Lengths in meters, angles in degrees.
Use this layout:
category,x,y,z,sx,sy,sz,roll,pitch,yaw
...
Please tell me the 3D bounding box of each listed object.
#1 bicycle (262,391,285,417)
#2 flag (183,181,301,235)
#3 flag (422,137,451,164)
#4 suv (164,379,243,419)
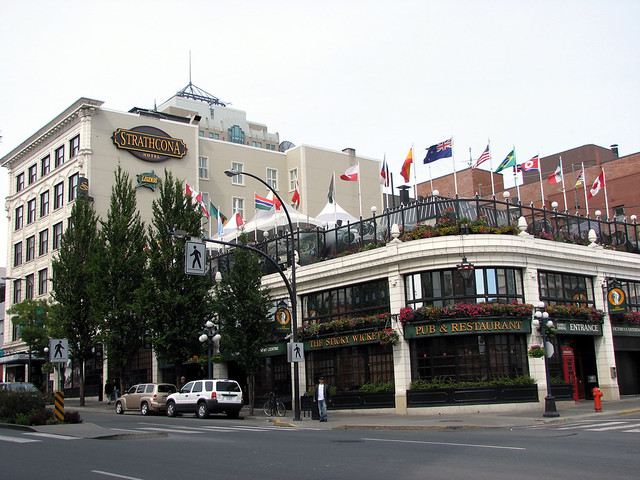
category,x,y,z,sx,sy,sz,roll,pitch,yaw
bicycle,-2.423,9.193,44.100,0.853,1.193,1.776,7,-15,-29
flag,-6.540,-2.405,63.949,4.726,2.682,4.929,-6,-11,25
flag,7.182,-5.296,48.182,1.165,1.288,1.394,2,-3,-37
suv,-6.021,8.601,42.368,4.382,2.246,2.242,-5,-8,40
